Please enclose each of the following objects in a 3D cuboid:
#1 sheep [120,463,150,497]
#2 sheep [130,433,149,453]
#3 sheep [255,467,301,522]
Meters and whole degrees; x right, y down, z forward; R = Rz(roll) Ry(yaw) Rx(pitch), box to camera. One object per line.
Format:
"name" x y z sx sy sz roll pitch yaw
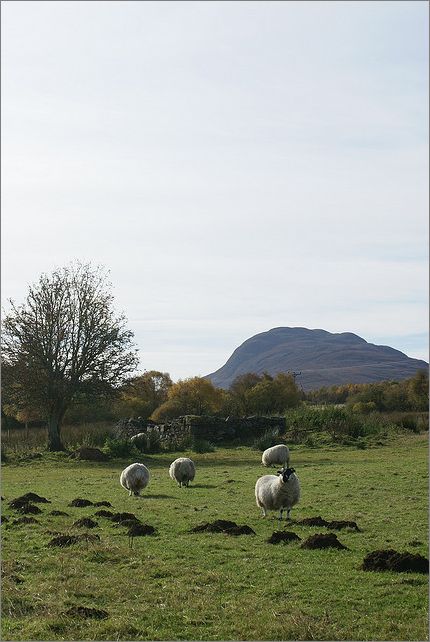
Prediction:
"sheep" -1.723 3.432 17.950 0.572 0.679 0.833 -1 -13 -9
"sheep" -2.846 4.700 31.818 0.733 0.745 1.065 -1 -13 -9
"sheep" 1.162 3.181 15.110 0.594 0.881 1.328 5 -16 -20
